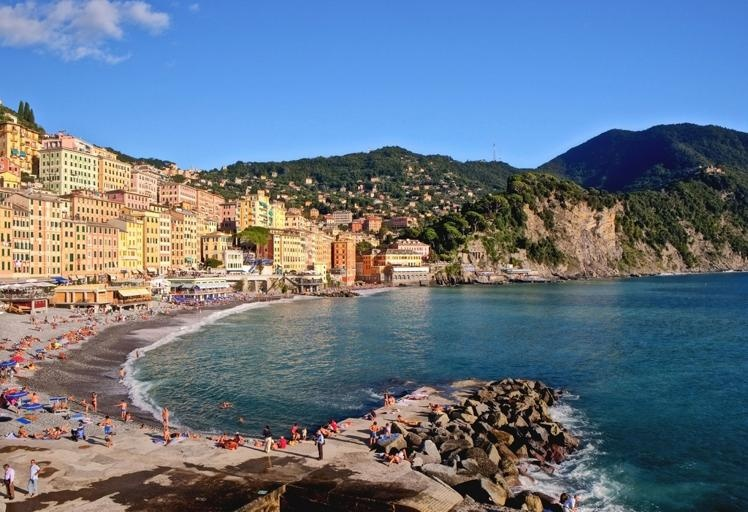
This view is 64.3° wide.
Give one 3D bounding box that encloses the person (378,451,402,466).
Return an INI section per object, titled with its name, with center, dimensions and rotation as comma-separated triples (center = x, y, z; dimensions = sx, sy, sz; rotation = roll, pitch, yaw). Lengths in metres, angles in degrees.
[person]
center = 1.371, 16.966, 49.949
dimensions = 1.965, 0.550, 1.400
rotation = 3, 8, 3
